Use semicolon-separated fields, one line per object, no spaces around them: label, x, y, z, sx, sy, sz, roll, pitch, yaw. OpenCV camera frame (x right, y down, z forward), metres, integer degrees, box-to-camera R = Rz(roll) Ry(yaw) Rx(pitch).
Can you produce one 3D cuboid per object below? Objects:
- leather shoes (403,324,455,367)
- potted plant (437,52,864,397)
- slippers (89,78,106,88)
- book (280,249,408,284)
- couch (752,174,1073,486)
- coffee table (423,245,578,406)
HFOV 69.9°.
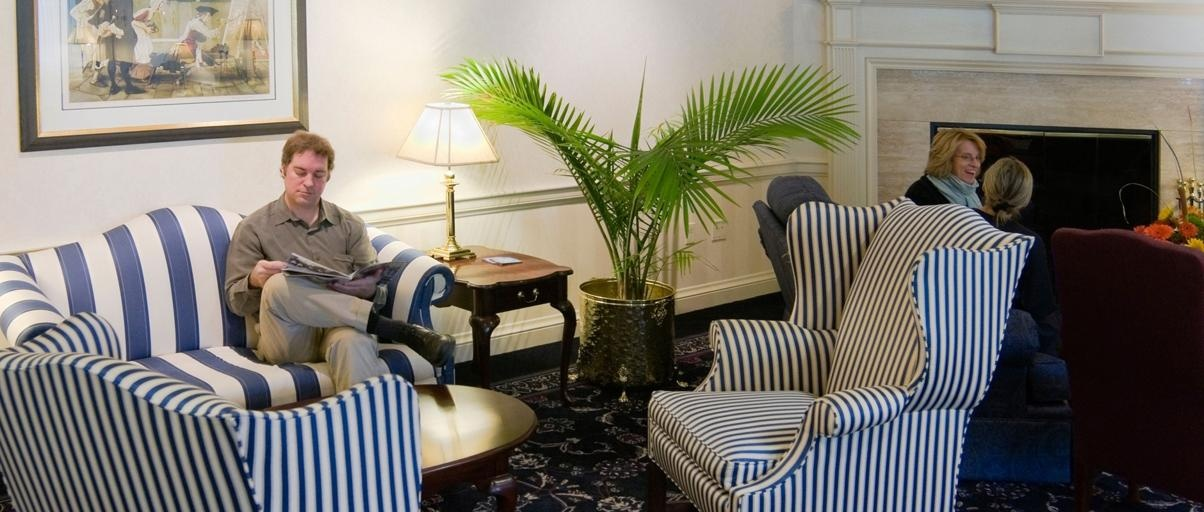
leather shoes;-1.188;0.573;5.678;0.226;0.140;0.473;-10;28;-44
potted plant;0.270;-0.344;6.718;2.653;1.387;2.740;4;4;44
slippers;-3.378;-1.165;5.783;0.094;0.018;0.058;3;-28;-7
book;-1.728;0.103;5.580;0.464;0.114;0.312;16;-9;-13
couch;1.964;0.398;6.519;2.440;2.039;1.729;1;12;10
coffee table;-0.769;0.446;6.611;1.089;1.010;1.272;-9;16;-40
